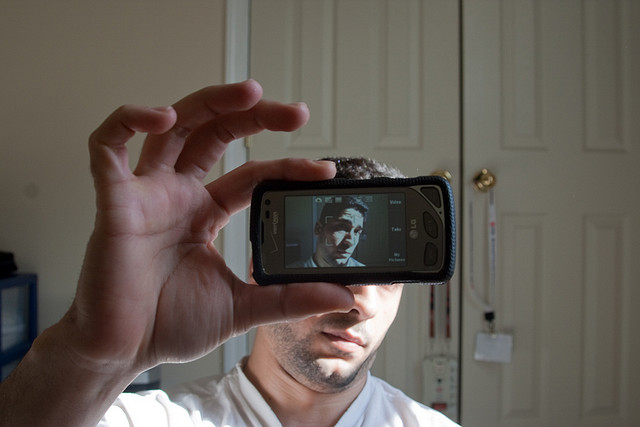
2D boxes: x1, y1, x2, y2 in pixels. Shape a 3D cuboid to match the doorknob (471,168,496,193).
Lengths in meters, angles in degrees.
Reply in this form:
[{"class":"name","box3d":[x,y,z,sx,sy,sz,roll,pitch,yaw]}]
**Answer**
[{"class":"doorknob","box3d":[0.791,-0.160,3.163,0.101,0.117,0.105,16,7,-1]}]
